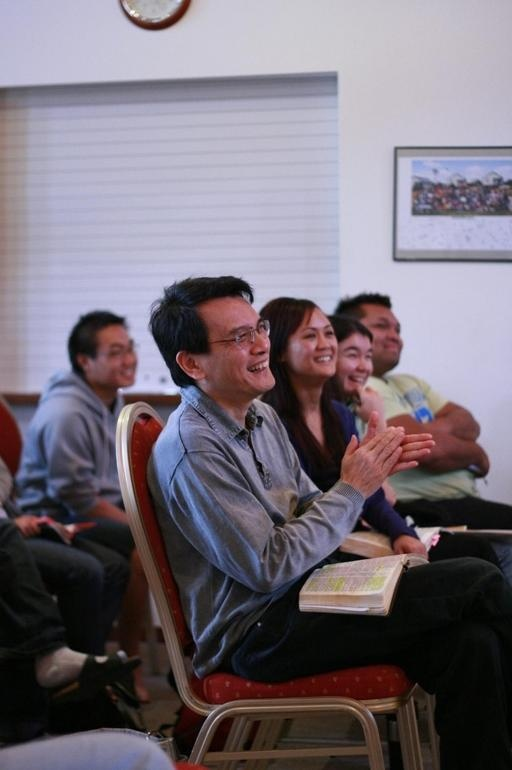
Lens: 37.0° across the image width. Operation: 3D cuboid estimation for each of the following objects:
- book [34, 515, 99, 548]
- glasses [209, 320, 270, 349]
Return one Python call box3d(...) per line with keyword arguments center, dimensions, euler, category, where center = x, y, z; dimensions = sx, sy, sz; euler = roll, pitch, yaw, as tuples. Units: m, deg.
box3d(center=(-0.503, 0.393, 2.035), dimensions=(0.052, 0.055, 0.191), euler=(17, -1, 32), category="book")
box3d(center=(-0.021, -0.098, 1.518), dimensions=(0.078, 0.022, 0.075), euler=(-17, -2, 26), category="glasses")
